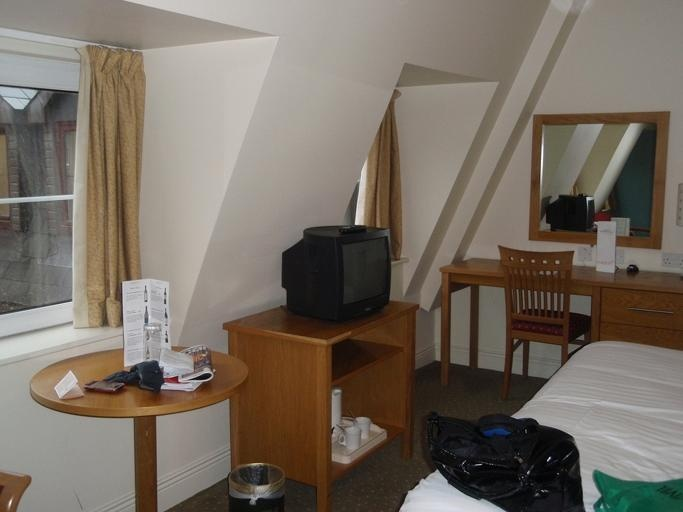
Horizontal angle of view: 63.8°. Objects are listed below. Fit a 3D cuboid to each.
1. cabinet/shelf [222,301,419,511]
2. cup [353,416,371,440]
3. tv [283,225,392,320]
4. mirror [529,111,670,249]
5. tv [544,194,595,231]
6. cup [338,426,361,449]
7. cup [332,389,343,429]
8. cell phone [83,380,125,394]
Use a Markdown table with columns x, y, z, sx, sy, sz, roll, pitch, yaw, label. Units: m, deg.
| x | y | z | sx | sy | sz | roll | pitch | yaw | label |
| --- | --- | --- | --- | --- | --- | --- | --- | --- | --- |
| -0.076 | 0.521 | 3.425 | 0.887 | 1.364 | 1.357 | 8 | 13 | 33 | cabinet/shelf |
| 0.131 | 1.018 | 3.230 | 0.081 | 0.099 | 0.098 | 0 | 3 | 2 | cup |
| -0.023 | 0.081 | 3.299 | 0.543 | 0.540 | 0.542 | -5 | 8 | -42 | tv |
| 2.133 | -0.636 | 4.442 | 0.992 | 1.162 | 0.050 | 4 | 6 | 35 | mirror |
| 1.955 | -0.393 | 4.743 | 0.413 | 0.306 | 0.434 | -9 | 16 | -21 | tv |
| 0.053 | 1.024 | 3.098 | 0.076 | 0.113 | 0.127 | 0 | 2 | -7 | cup |
| -0.014 | 0.903 | 3.226 | 0.104 | 0.198 | 0.109 | 0 | -10 | 0 | cup |
| -0.950 | 0.521 | 2.189 | 0.149 | 0.023 | 0.071 | 3 | 13 | -5 | cell phone |
